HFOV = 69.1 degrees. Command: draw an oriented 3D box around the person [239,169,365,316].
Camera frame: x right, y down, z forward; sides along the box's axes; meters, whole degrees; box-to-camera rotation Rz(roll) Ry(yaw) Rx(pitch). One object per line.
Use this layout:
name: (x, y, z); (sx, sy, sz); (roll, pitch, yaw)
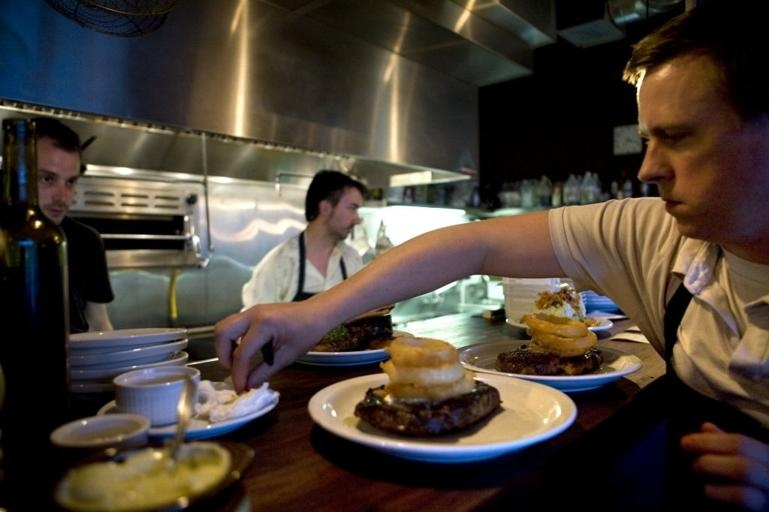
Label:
person: (-0.512, -0.143, 4.233); (0.609, 1.011, 1.292); (13, 10, 40)

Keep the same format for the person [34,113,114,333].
person: (-1.675, -0.133, 3.012); (0.261, 1.169, 0.604); (-3, 5, -16)

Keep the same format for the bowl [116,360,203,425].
bowl: (-0.581, 0.356, 1.424); (0.211, 0.093, 0.186); (-1, 5, -31)
